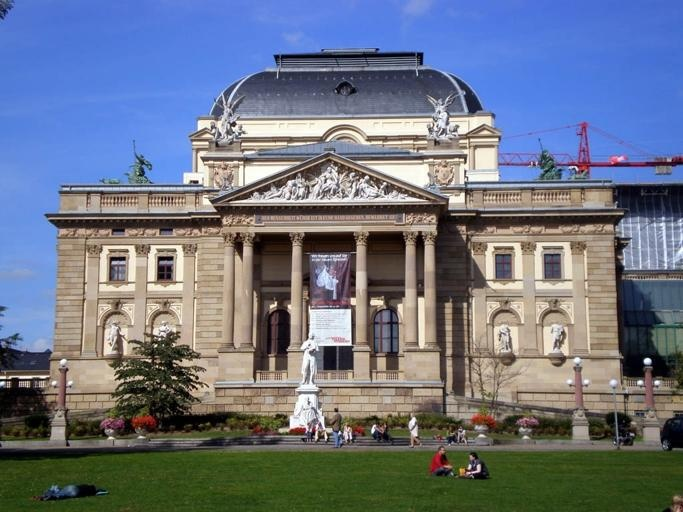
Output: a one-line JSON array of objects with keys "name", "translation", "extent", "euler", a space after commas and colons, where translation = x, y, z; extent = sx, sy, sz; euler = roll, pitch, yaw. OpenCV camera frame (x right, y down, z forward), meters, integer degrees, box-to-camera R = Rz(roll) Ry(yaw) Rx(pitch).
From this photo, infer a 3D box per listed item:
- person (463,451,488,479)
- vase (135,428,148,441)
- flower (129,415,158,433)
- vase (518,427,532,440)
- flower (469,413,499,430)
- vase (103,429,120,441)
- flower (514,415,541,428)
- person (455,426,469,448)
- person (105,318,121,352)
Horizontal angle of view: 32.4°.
[{"name": "person", "translation": [6.978, 11.069, 61.519], "extent": [1.442, 1.343, 1.157], "euler": [3, -9, -8]}, {"name": "vase", "translation": [-13.422, 12.122, 79.693], "extent": [1.101, 0.666, 0.996], "euler": [2, -4, -19]}, {"name": "flower", "translation": [-13.362, 11.461, 80.074], "extent": [1.647, 1.009, 1.497], "euler": [6, -8, -15]}, {"name": "vase", "translation": [12.739, 12.349, 81.579], "extent": [0.930, 0.603, 0.915], "euler": [-7, -12, 34]}, {"name": "flower", "translation": [9.991, 11.495, 81.582], "extent": [1.787, 1.044, 1.503], "euler": [3, -10, -1]}, {"name": "vase", "translation": [-15.460, 12.089, 79.107], "extent": [1.022, 0.646, 0.946], "euler": [0, -5, 3]}, {"name": "flower", "translation": [13.117, 11.691, 82.545], "extent": [1.306, 0.658, 1.206], "euler": [1, -7, -6]}, {"name": "person", "translation": [8.350, 11.979, 77.634], "extent": [1.118, 1.365, 1.038], "euler": [-2, -16, 7]}, {"name": "person", "translation": [-18.933, 6.750, 98.434], "extent": [0.945, 3.029, 1.425], "euler": [6, -13, -37]}]
